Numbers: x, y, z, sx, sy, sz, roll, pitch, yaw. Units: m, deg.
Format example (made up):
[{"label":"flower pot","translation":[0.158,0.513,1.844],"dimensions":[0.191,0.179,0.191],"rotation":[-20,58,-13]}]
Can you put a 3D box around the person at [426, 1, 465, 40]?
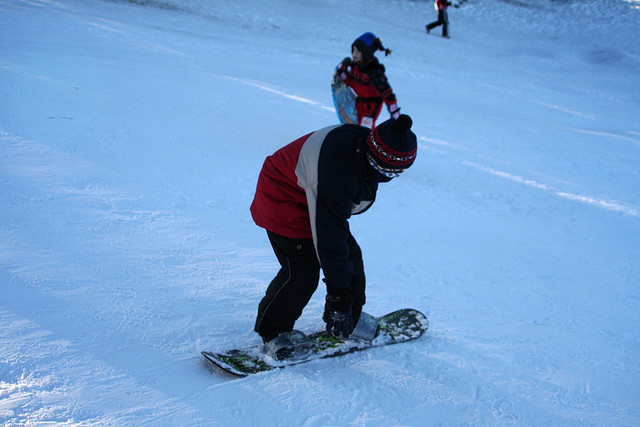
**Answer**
[{"label":"person","translation":[3.278,-5.130,16.387],"dimensions":[0.747,1.025,1.265],"rotation":[19,33,3]}]

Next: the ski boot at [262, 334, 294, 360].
[{"label":"ski boot","translation":[-0.431,1.371,6.437],"dimensions":[0.262,0.249,0.252],"rotation":[4,18,7]}]

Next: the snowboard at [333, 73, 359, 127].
[{"label":"snowboard","translation":[0.324,-1.534,8.903],"dimensions":[0.259,0.943,0.132],"rotation":[26,73,35]}]

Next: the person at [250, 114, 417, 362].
[{"label":"person","translation":[-0.006,0.214,6.185],"dimensions":[1.234,2.471,1.261],"rotation":[5,36,-17]}]

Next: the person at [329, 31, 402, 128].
[{"label":"person","translation":[0.624,-1.801,8.740],"dimensions":[1.062,1.293,0.498],"rotation":[36,39,27]}]

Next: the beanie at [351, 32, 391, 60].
[{"label":"beanie","translation":[0.714,-2.338,8.630],"dimensions":[0.582,0.270,0.271],"rotation":[3,34,-7]}]
